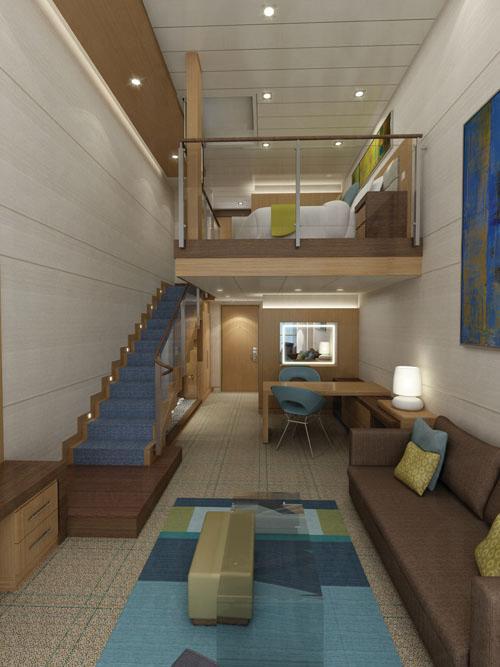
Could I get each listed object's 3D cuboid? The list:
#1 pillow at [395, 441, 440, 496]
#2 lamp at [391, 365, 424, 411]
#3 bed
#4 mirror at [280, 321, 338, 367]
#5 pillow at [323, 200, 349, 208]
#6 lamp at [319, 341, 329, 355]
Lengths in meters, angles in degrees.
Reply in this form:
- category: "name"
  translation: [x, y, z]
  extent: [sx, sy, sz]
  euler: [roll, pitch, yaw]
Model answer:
- category: "pillow"
  translation: [1.118, 0.908, 3.037]
  extent: [0.126, 0.219, 0.304]
  euler: [42, -2, -3]
- category: "lamp"
  translation: [1.402, 0.484, 4.082]
  extent: [0.266, 0.371, 0.272]
  euler: [0, 3, 19]
- category: "bed"
  translation: [0.433, -1.128, 4.576]
  extent: [1.201, 0.435, 0.475]
  euler: [-1, 3, 6]
- category: "mirror"
  translation: [0.933, 0.173, 7.122]
  extent: [0.665, 0.525, 0.025]
  euler: [1, 2, 3]
- category: "pillow"
  translation: [0.806, -1.249, 4.419]
  extent: [0.126, 0.044, 0.143]
  euler: [-3, 7, -20]
- category: "lamp"
  translation: [1.157, 0.220, 7.125]
  extent: [0.175, 0.201, 0.173]
  euler: [1, 4, 14]
